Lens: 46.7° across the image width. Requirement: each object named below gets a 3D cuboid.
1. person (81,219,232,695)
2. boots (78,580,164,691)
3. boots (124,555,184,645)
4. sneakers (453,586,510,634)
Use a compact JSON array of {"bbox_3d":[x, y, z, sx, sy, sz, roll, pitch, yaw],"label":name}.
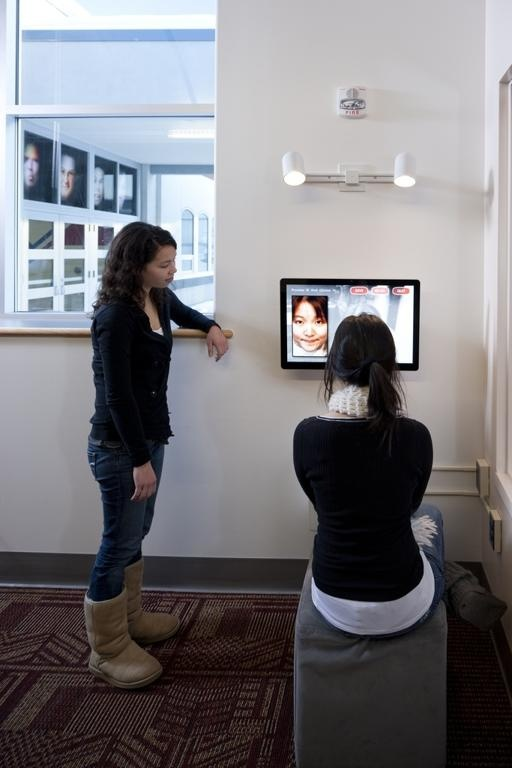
[{"bbox_3d":[-0.404,0.210,2.082,0.292,1.507,0.617,0,4,5],"label":"person"},{"bbox_3d":[-0.443,0.830,1.943,0.230,0.312,0.151,7,17,20],"label":"boots"},{"bbox_3d":[-0.406,0.805,2.269,0.270,0.359,0.151,-5,7,-22],"label":"boots"},{"bbox_3d":[0.744,0.749,1.961,0.138,0.140,0.069,6,21,-2],"label":"sneakers"}]
